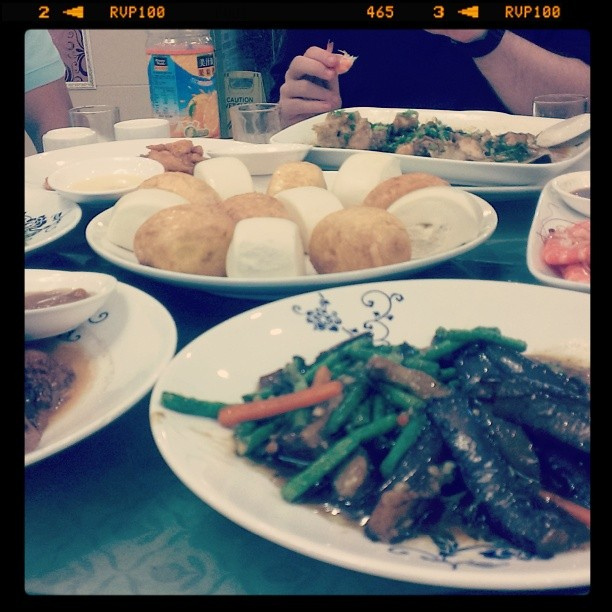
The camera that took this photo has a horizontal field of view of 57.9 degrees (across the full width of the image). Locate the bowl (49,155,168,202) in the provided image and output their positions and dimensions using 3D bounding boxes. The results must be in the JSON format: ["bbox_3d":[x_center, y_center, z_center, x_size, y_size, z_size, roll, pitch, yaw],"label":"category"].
[{"bbox_3d":[-0.297,-0.192,0.833,0.097,0.023,0.097,1,30,-1],"label":"bowl"}]

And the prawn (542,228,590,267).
[{"bbox_3d":[0.280,-0.067,0.597,0.040,0.016,0.045,-23,21,-20],"label":"prawn"}]

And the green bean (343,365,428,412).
[{"bbox_3d":[0.060,0.067,0.443,0.066,0.026,0.045,-3,16,-13],"label":"green bean"}]

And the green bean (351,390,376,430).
[{"bbox_3d":[0.045,0.080,0.427,0.008,0.009,0.032,14,42,31],"label":"green bean"}]

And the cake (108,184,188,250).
[{"bbox_3d":[-0.190,-0.119,0.691,0.080,0.056,0.089,8,32,6],"label":"cake"}]

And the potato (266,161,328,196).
[{"bbox_3d":[-0.009,-0.200,0.840,0.080,0.043,0.189,0,25,10],"label":"potato"}]

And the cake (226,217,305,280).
[{"bbox_3d":[-0.048,-0.055,0.601,0.084,0.058,0.104,-5,25,0],"label":"cake"}]

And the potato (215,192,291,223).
[{"bbox_3d":[-0.065,-0.122,0.673,0.081,0.040,0.090,13,21,43],"label":"potato"}]

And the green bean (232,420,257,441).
[{"bbox_3d":[-0.048,0.093,0.419,0.011,0.003,0.014,9,38,19],"label":"green bean"}]

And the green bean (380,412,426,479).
[{"bbox_3d":[0.071,0.100,0.402,0.018,0.015,0.062,40,55,8],"label":"green bean"}]

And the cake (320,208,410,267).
[{"bbox_3d":[0.070,-0.089,0.611,0.069,0.045,0.080,-2,25,-11],"label":"cake"}]

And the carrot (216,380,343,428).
[{"bbox_3d":[-0.022,0.079,0.435,0.070,0.014,0.012,-14,31,-12],"label":"carrot"}]

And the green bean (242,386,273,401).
[{"bbox_3d":[-0.038,0.071,0.449,0.016,0.002,0.010,-13,56,-12],"label":"green bean"}]

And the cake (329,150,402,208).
[{"bbox_3d":[0.090,-0.180,0.819,0.078,0.058,0.109,-2,2,2],"label":"cake"}]

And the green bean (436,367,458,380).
[{"bbox_3d":[0.117,0.056,0.462,0.014,0.009,0.005,-9,32,6],"label":"green bean"}]

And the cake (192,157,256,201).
[{"bbox_3d":[-0.119,-0.185,0.794,0.077,0.044,0.088,-9,25,-10],"label":"cake"}]

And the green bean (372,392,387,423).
[{"bbox_3d":[0.056,0.078,0.430,0.013,0.008,0.040,-9,24,8],"label":"green bean"}]

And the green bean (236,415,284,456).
[{"bbox_3d":[-0.035,0.097,0.416,0.029,0.017,0.043,4,12,11],"label":"green bean"}]

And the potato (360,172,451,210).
[{"bbox_3d":[0.123,-0.169,0.779,0.130,0.053,0.088,-13,16,-28],"label":"potato"}]

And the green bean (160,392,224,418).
[{"bbox_3d":[-0.087,0.076,0.420,0.043,0.022,0.014,-7,26,-6],"label":"green bean"}]

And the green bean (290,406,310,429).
[{"bbox_3d":[-0.005,0.086,0.428,0.011,0.004,0.014,12,41,42],"label":"green bean"}]

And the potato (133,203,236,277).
[{"bbox_3d":[-0.131,-0.088,0.647,0.118,0.077,0.084,-16,23,-40],"label":"potato"}]

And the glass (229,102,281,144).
[{"bbox_3d":[-0.108,-0.387,1.170,0.112,0.103,0.132,-6,20,-14],"label":"glass"}]

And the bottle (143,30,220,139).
[{"bbox_3d":[-0.228,-0.410,1.046,0.139,0.199,0.176,-10,26,-11],"label":"bottle"}]

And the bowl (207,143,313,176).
[{"bbox_3d":[-0.077,-0.257,0.958,0.133,0.034,0.106,4,20,19],"label":"bowl"}]

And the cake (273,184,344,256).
[{"bbox_3d":[0.003,-0.125,0.697,0.075,0.040,0.101,-12,57,-10],"label":"cake"}]
